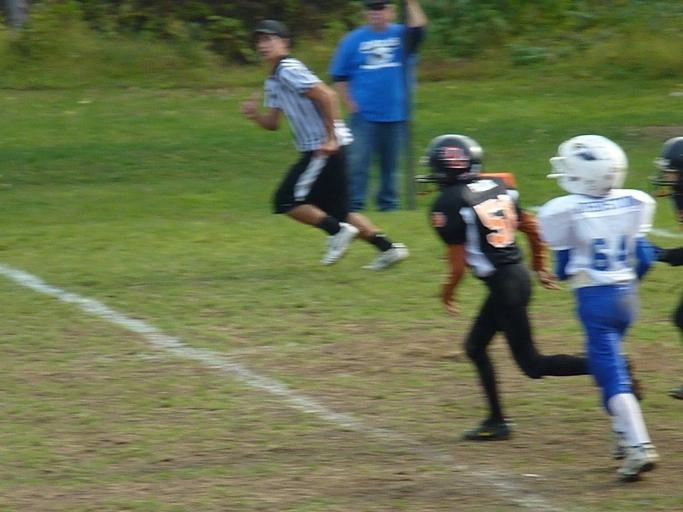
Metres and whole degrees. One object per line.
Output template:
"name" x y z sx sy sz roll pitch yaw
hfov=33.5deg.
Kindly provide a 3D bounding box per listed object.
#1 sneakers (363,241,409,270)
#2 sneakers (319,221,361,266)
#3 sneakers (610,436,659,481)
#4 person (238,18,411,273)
"sneakers" 0.360 0.002 8.963 0.478 0.171 0.118 -15 41 30
"sneakers" -0.008 -0.097 8.869 0.425 0.266 0.162 -43 19 15
"sneakers" 1.408 0.969 5.525 0.177 0.219 0.303 -9 17 -9
"person" -0.184 -0.818 8.829 1.015 2.035 0.770 -9 22 -4
